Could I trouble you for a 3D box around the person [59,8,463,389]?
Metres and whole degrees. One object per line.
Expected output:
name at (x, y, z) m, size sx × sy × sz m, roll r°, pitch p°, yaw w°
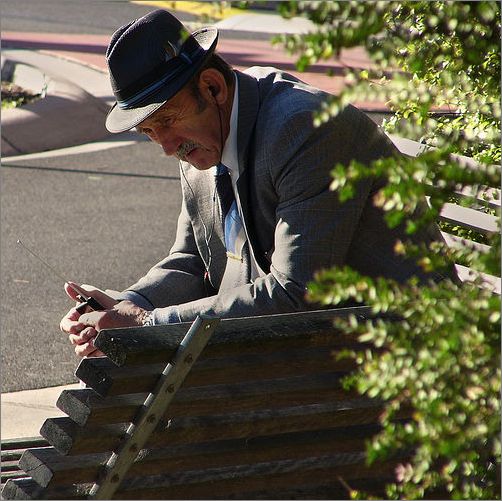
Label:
person at (-0.064, -0.186, 3.009) m, size 1.367 × 1.002 × 0.924 m, roll -13°, pitch -2°, yaw -13°
